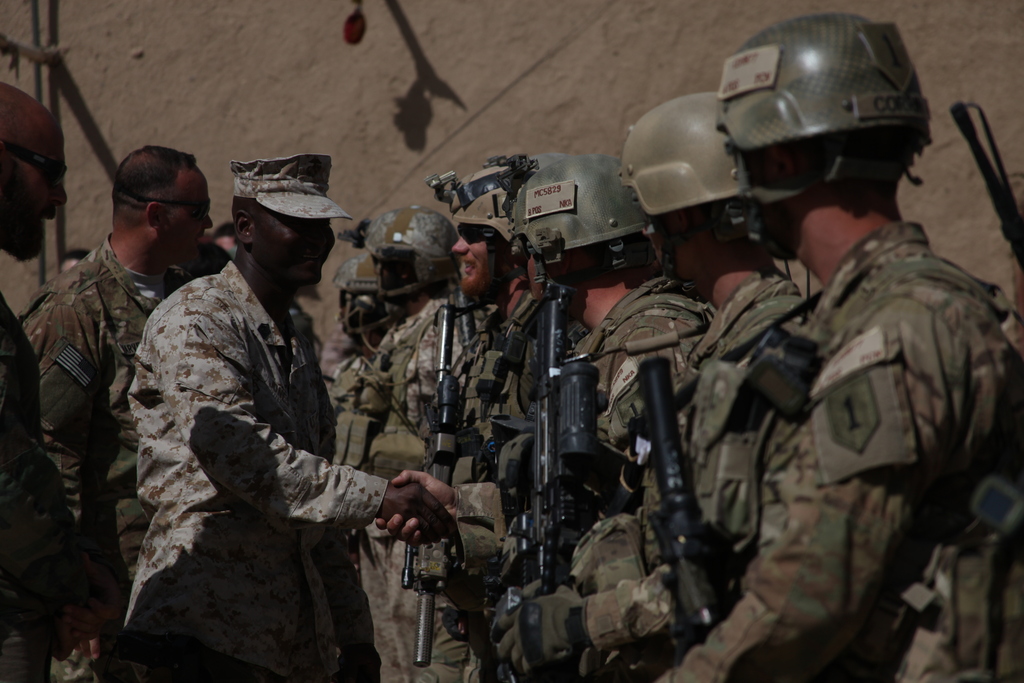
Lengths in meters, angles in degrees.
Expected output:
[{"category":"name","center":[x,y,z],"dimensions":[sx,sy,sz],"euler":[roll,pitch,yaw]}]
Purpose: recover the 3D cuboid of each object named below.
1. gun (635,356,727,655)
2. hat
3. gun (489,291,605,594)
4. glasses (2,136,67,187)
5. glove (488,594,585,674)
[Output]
[{"category":"gun","center":[0.745,0.742,7.050],"dimensions":[0.202,1.371,0.537],"euler":[-1,-8,-24]},{"category":"hat","center":[-1.207,-0.831,8.731],"dimensions":[0.405,0.206,0.483],"euler":[-4,13,-29]},{"category":"gun","center":[0.283,0.548,8.203],"dimensions":[0.348,1.718,0.690],"euler":[2,-2,-19]},{"category":"glasses","center":[-2.410,-0.904,8.261],"dimensions":[0.218,0.071,0.205],"euler":[27,-7,-28]},{"category":"glove","center":[0.132,1.377,7.723],"dimensions":[0.598,0.375,0.216],"euler":[-8,-16,30]}]
